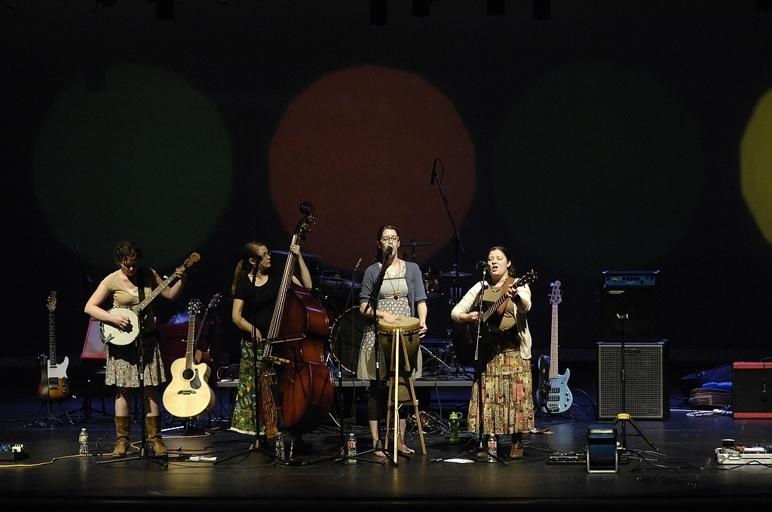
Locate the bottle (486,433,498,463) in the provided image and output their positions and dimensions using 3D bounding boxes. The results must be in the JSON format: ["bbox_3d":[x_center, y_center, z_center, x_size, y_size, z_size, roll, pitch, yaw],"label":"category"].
[{"bbox_3d":[1.154,2.115,8.607,0.111,0.282,0.259,-2,-14,8],"label":"bottle"}]

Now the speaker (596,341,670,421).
[{"bbox_3d":[3.293,1.645,10.789,0.996,1.128,0.680,-2,9,6],"label":"speaker"}]

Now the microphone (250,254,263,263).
[{"bbox_3d":[-1.396,0.031,8.605,0.101,0.074,0.079,-1,3,-12],"label":"microphone"}]

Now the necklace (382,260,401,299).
[{"bbox_3d":[0.059,0.282,8.707,0.301,0.423,0.102,1,-2,3],"label":"necklace"}]

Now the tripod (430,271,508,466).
[{"bbox_3d":[1.157,1.281,8.738,0.270,1.889,0.737,0,18,-28],"label":"tripod"}]

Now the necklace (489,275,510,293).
[{"bbox_3d":[1.254,0.306,8.583,0.135,0.192,0.071,10,0,36],"label":"necklace"}]

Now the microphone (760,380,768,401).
[{"bbox_3d":[5.047,1.839,10.600,0.094,0.248,0.051,-2,-14,8],"label":"microphone"}]

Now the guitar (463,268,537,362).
[{"bbox_3d":[1.217,0.594,8.310,0.177,0.560,1.134,-2,-26,-13],"label":"guitar"}]

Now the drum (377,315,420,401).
[{"bbox_3d":[0.146,1.118,8.497,0.448,0.903,0.501,0,-14,2],"label":"drum"}]

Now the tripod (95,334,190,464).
[{"bbox_3d":[-2.814,1.365,8.839,0.637,0.628,2.163,-3,37,-19],"label":"tripod"}]

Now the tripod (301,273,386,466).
[{"bbox_3d":[-0.304,1.259,9.351,1.103,1.771,0.659,-4,-9,30],"label":"tripod"}]

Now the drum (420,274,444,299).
[{"bbox_3d":[0.666,0.458,11.475,0.346,0.354,0.335,-4,-8,-5],"label":"drum"}]

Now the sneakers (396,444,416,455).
[{"bbox_3d":[0.220,2.185,8.790,0.077,0.105,0.244,2,-11,-31],"label":"sneakers"}]

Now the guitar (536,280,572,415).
[{"bbox_3d":[2.284,1.278,10.921,0.470,1.821,0.586,-1,-14,5],"label":"guitar"}]

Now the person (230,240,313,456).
[{"bbox_3d":[-1.388,0.942,8.654,1.063,2.046,0.644,-6,-6,40],"label":"person"}]

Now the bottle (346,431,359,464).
[{"bbox_3d":[-0.366,2.123,8.629,0.126,0.309,0.310,1,-14,-3],"label":"bottle"}]

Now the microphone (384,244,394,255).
[{"bbox_3d":[0.048,-0.077,8.477,0.103,0.081,0.146,4,13,5],"label":"microphone"}]

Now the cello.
[{"bbox_3d":[-0.966,0.663,8.444,0.799,2.399,0.571,-2,-14,8],"label":"cello"}]

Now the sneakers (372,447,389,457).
[{"bbox_3d":[-0.048,2.166,8.630,0.101,0.069,0.189,0,-7,-7],"label":"sneakers"}]
